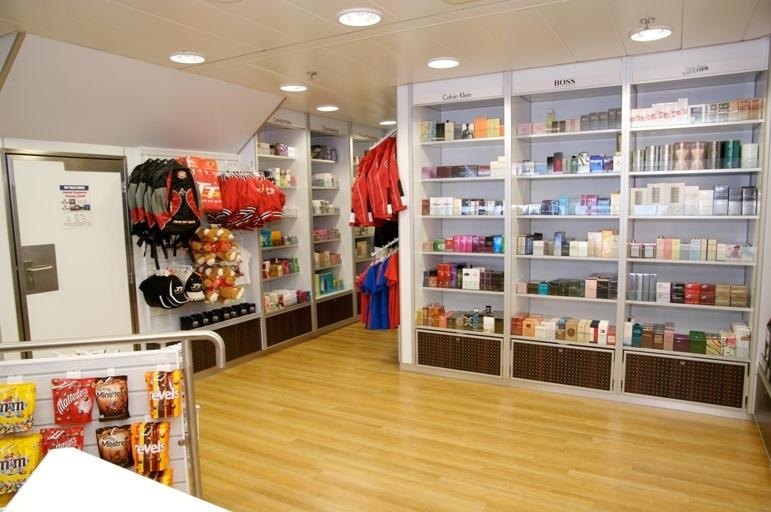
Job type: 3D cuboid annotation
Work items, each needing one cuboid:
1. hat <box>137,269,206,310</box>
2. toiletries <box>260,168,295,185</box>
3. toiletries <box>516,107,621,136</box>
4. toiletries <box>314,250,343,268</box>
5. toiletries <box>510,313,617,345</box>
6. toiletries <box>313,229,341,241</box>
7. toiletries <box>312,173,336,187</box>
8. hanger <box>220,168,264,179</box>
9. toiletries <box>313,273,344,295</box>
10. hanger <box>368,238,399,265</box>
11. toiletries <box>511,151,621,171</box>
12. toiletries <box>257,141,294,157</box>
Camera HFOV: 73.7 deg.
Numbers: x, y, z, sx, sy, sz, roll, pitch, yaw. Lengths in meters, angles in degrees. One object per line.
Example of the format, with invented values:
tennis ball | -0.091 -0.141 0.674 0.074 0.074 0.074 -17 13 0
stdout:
hat | -2.452 0.391 5.911 0.968 0.450 0.581 2 9 -26
toiletries | -1.611 -1.131 7.608 0.178 0.276 0.581 6 13 35
toiletries | 1.973 -1.427 5.578 1.061 0.246 0.180 2 11 18
toiletries | -0.962 0.058 8.379 0.224 0.291 0.649 3 12 24
toiletries | 1.967 0.806 5.727 1.084 0.213 0.245 3 12 22
toiletries | -0.974 -0.329 8.348 0.247 0.187 0.643 2 11 16
toiletries | -1.032 -1.203 8.417 0.431 0.221 0.282 2 -4 -22
hanger | -1.901 -1.045 6.699 0.562 0.120 0.522 -7 12 -26
toiletries | -0.942 0.450 8.318 0.295 0.369 0.551 4 7 45
hanger | -0.019 -0.060 6.627 0.388 0.162 0.251 -31 33 -35
toiletries | 1.980 -0.996 5.641 1.096 0.221 0.207 3 12 22
toiletries | -1.638 -1.511 7.499 0.247 0.202 0.719 4 12 26
